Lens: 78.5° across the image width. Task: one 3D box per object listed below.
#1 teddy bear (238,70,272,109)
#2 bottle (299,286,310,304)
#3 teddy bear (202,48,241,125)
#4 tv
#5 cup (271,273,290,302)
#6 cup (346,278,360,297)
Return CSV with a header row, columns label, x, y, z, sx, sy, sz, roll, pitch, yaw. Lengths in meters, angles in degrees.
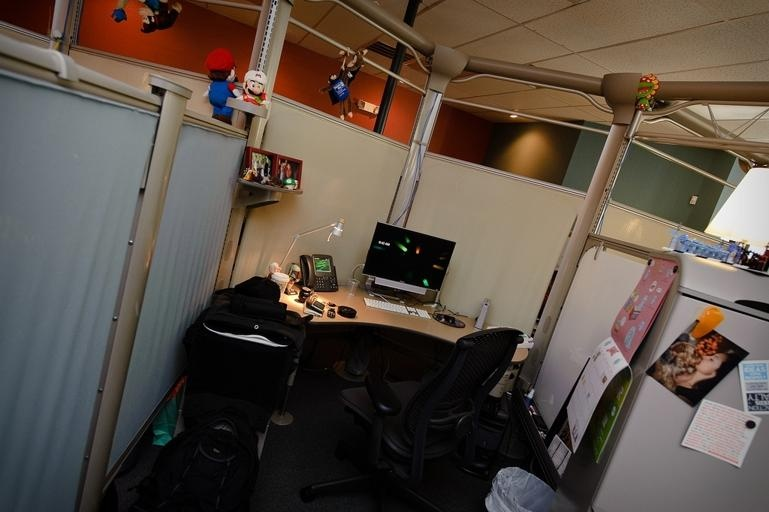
label,x,y,z,sx,sy,sz,roll,pitch,yaw
teddy bear,-0.734,-0.966,2.703,0.169,0.195,0.264,10,12,-20
bottle,-0.563,0.277,3.273,0.079,0.077,0.081,13,19,25
teddy bear,-0.986,-1.042,2.839,0.199,0.430,0.493,9,13,-24
tv,0.171,0.031,3.712,0.526,0.433,0.166,17,5,-18
cup,-0.713,0.221,3.227,0.153,0.171,0.154,5,11,-1
cup,-0.225,0.248,3.640,0.112,0.141,0.104,7,7,-1
